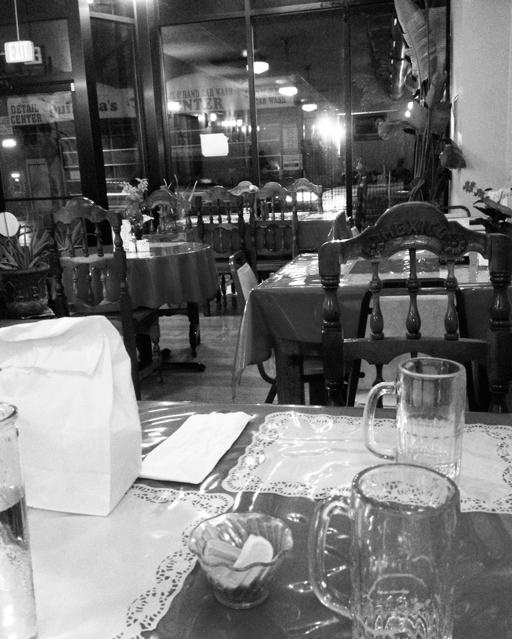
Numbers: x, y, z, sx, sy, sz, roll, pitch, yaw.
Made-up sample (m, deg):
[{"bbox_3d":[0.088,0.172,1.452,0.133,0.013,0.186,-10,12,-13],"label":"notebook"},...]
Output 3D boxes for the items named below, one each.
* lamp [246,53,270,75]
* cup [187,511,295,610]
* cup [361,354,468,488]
[{"bbox_3d":[0.051,-2.935,6.440,0.204,0.244,0.107,-3,18,-9],"label":"lamp"},{"bbox_3d":[-0.012,0.191,0.454,0.084,0.049,0.088,-2,12,0],"label":"cup"},{"bbox_3d":[0.160,0.110,0.573,0.095,0.123,0.067,-1,7,7],"label":"cup"}]
